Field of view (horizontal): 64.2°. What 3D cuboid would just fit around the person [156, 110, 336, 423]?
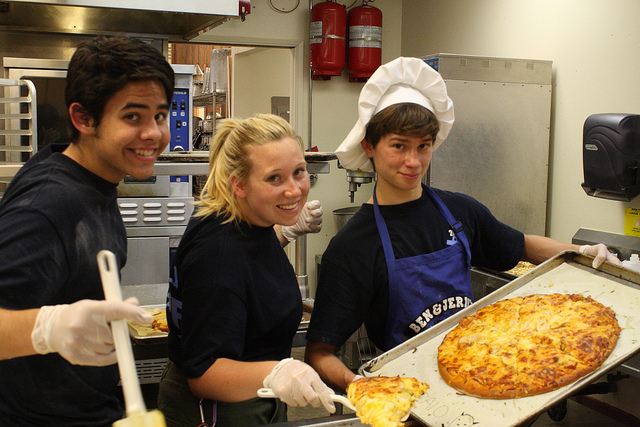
[{"bbox_3d":[-0.288,0.260,1.816,0.587,1.219,0.710,-2,9,-18],"label":"person"}]

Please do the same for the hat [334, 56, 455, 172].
[{"bbox_3d":[0.331,-0.429,2.250,0.517,0.495,0.301,1,9,3],"label":"hat"}]

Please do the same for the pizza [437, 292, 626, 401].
[{"bbox_3d":[0.720,0.482,1.773,0.452,0.051,0.360,-22,24,-5],"label":"pizza"}]
